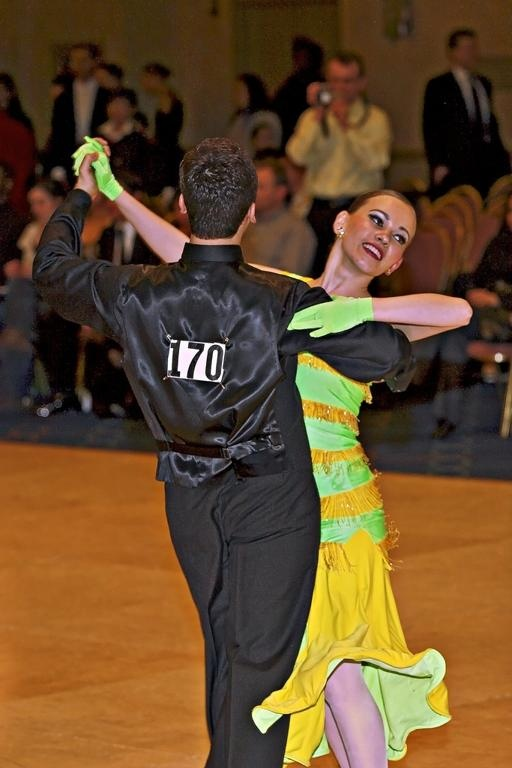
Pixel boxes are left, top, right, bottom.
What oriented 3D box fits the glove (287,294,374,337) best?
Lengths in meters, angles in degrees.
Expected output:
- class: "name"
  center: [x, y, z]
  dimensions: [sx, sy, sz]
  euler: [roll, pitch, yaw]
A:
- class: "glove"
  center: [0.119, -0.100, 1.212]
  dimensions: [0.136, 0.058, 0.043]
  euler: [-4, 9, -31]
